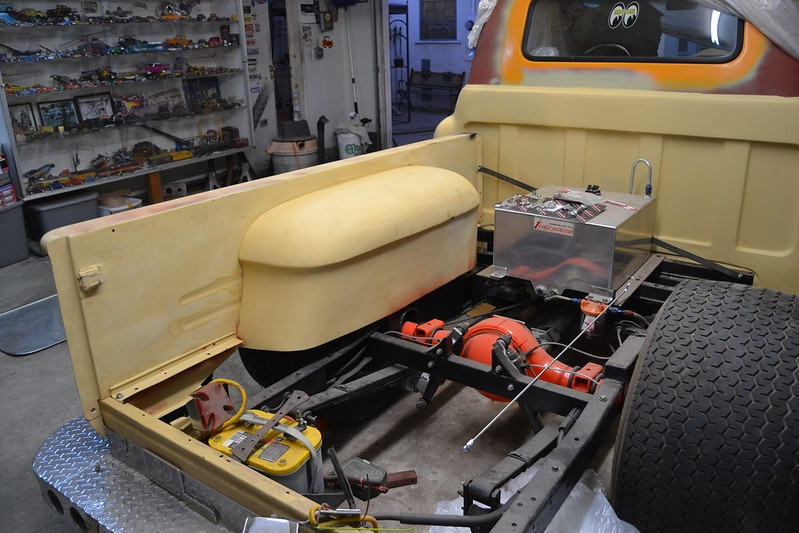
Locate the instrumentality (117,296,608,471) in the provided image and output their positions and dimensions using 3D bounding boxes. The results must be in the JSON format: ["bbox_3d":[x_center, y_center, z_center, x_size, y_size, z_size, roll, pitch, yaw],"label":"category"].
[{"bbox_3d":[-0.069,0.581,2.544,1.552,0.389,0.901,-22,14,-21],"label":"instrumentality"}]
